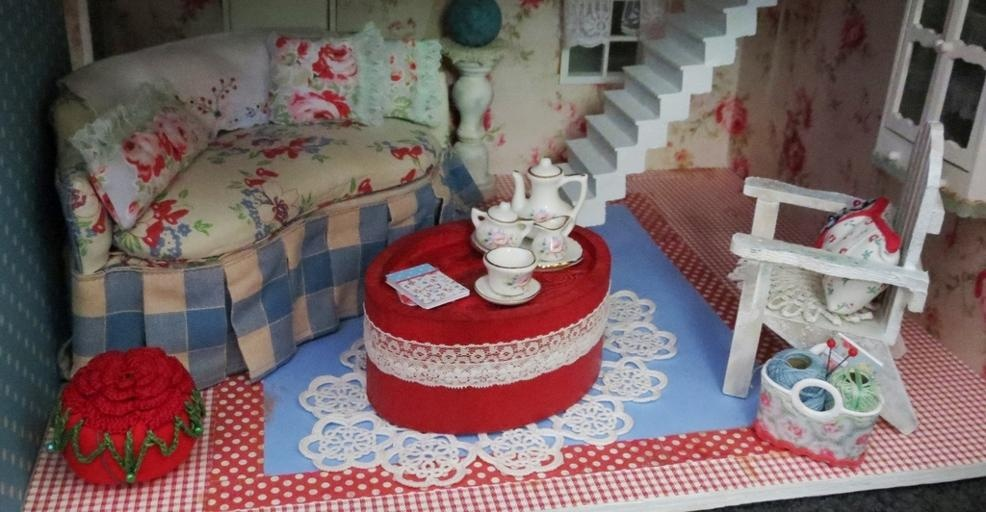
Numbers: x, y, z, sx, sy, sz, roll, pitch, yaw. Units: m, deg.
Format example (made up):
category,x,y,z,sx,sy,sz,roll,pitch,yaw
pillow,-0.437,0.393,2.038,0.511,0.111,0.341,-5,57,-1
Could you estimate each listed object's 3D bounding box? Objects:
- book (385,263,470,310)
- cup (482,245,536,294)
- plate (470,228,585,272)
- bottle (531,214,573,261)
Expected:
category,x,y,z,sx,sy,sz,roll,pitch,yaw
book,-0.384,0.178,4.103,0.310,0.052,0.325,-15,34,-34
cup,0.107,0.115,4.135,0.321,0.203,0.305,1,21,0
plate,0.297,-0.060,4.355,0.431,0.129,0.394,2,28,3
bottle,0.379,-0.119,4.405,0.233,0.234,0.307,2,23,14
